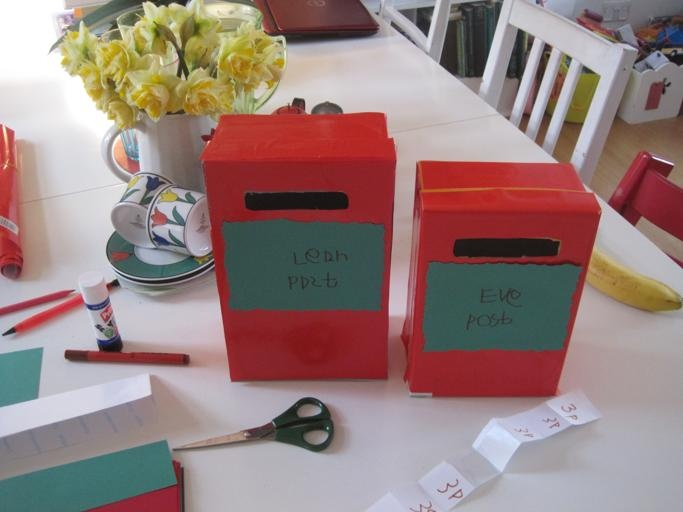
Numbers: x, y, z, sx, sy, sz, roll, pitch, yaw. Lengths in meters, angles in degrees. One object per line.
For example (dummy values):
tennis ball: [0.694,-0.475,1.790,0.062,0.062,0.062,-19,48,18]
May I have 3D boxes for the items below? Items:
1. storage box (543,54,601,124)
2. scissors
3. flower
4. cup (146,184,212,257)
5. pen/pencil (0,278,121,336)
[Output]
storage box: [1.159,-0.833,2.881,0.292,0.308,0.295,9,12,3]
scissors: [-0.110,0.228,0.730,0.182,0.015,0.082,-7,54,-11]
flower: [-0.276,-0.304,0.981,0.274,0.193,0.269,-37,66,-27]
cup: [-0.267,-0.069,0.953,0.106,0.093,0.113,-9,20,3]
pen/pencil: [-0.442,0.085,0.871,0.163,0.019,0.018,-28,76,-32]
